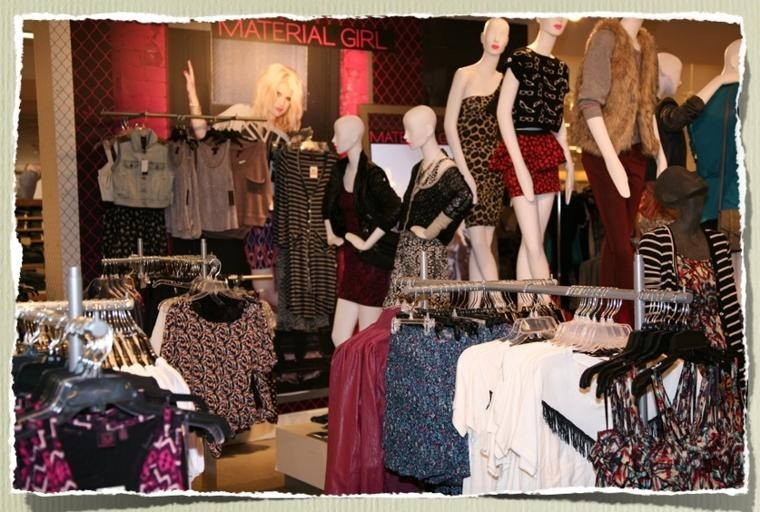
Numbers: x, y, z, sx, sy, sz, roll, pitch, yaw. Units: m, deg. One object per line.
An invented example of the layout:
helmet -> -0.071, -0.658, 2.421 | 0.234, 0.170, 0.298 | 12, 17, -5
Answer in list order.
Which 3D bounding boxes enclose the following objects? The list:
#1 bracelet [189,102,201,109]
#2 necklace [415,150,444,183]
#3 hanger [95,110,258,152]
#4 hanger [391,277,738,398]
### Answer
bracelet -> -1.471, -1.223, 5.562 | 0.047, 0.036, 0.050 | 0, 3, 9
necklace -> 0.302, -0.540, 4.051 | 0.048, 0.201, 0.144 | 41, -7, -34
hanger -> -1.431, -1.047, 5.427 | 1.408, 0.445, 0.540 | 1, 12, -3
hanger -> 0.791, 0.283, 2.781 | 0.929, 0.392, 0.645 | 2, 5, 33
